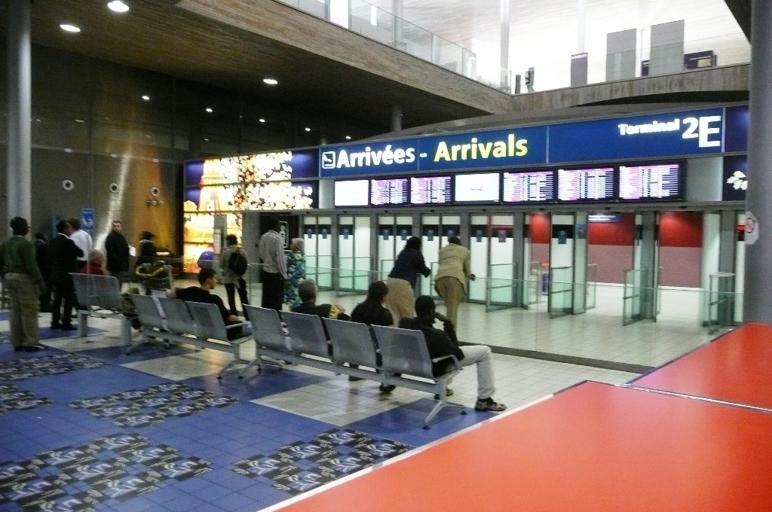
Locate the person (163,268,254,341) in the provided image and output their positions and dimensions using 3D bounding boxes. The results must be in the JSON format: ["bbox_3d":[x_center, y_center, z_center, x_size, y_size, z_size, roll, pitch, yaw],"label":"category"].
[{"bbox_3d":[-2.565,0.725,8.690,1.378,1.223,1.159,8,9,29],"label":"person"}]

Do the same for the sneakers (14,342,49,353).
[{"bbox_3d":[-5.903,1.525,9.271,0.499,0.163,0.160,-1,3,-12],"label":"sneakers"}]

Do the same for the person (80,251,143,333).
[{"bbox_3d":[-5.351,0.700,10.722,1.904,1.178,0.811,4,7,36],"label":"person"}]

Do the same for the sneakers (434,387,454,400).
[{"bbox_3d":[0.758,1.772,7.112,0.142,0.140,0.393,3,7,27],"label":"sneakers"}]

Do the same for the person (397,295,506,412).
[{"bbox_3d":[0.840,1.187,6.699,1.185,1.355,0.655,-1,8,-16],"label":"person"}]

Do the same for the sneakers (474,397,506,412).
[{"bbox_3d":[1.251,1.798,6.699,0.432,0.149,0.142,0,-1,4],"label":"sneakers"}]
